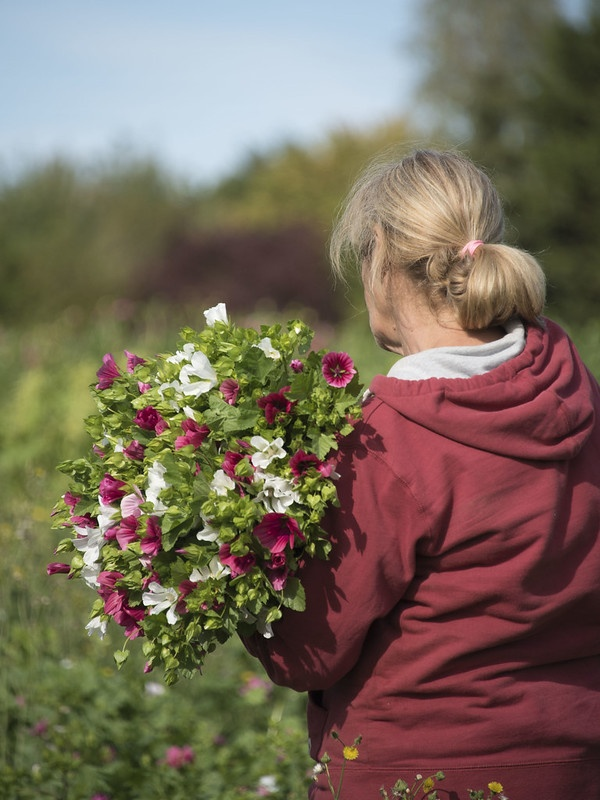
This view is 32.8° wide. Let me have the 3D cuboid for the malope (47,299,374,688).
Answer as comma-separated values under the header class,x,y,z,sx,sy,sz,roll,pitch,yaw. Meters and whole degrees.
class,x,y,z,sx,sy,sz,roll,pitch,yaw
malope,-0.219,0.146,2.383,0.649,0.808,0.940,18,16,22
